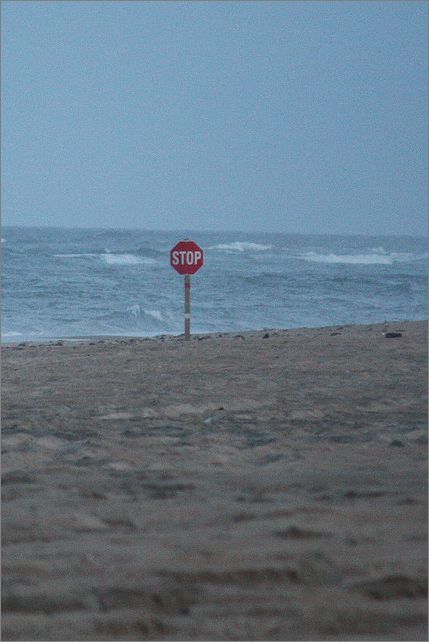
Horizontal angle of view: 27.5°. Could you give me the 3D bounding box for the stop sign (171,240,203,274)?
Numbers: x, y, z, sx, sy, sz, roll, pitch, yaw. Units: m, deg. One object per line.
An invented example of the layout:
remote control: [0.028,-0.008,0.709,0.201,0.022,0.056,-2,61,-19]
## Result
stop sign: [-0.375,-0.877,11.997,0.411,0.482,0.368,0,8,-4]
